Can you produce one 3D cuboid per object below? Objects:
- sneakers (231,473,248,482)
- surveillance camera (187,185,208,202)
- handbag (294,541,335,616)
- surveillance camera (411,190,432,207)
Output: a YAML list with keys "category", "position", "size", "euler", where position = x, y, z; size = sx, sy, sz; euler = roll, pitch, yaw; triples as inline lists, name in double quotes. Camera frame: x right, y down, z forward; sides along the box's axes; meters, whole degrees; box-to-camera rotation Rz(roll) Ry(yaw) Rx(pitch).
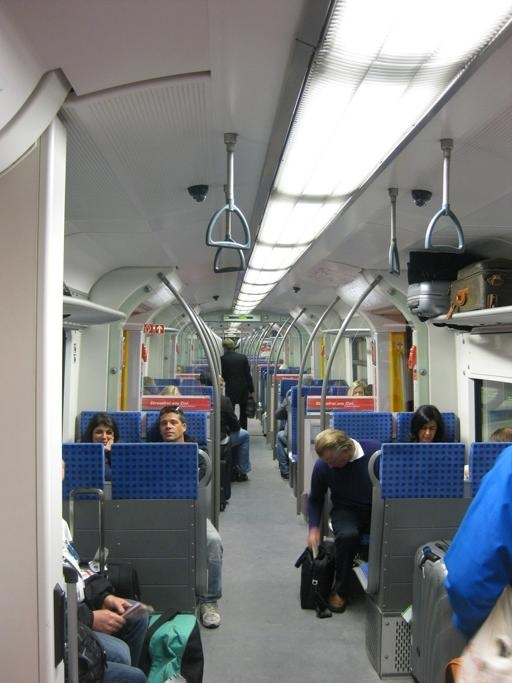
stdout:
- category: "sneakers"
  position: [-0.261, 2.136, 8.859]
  size: [0.283, 0.201, 0.095]
  euler: [-1, -3, 11]
- category: "surveillance camera"
  position: [-0.396, -1.009, 3.830]
  size: [0.124, 0.089, 0.030]
  euler: [-5, 23, 2]
- category: "handbag"
  position: [0.440, 1.817, 4.336]
  size: [0.259, 0.425, 0.453]
  euler: [2, 4, 3]
- category: "surveillance camera"
  position: [0.982, -0.851, 3.348]
  size: [0.088, 0.054, 0.088]
  euler: [0, -1, -20]
